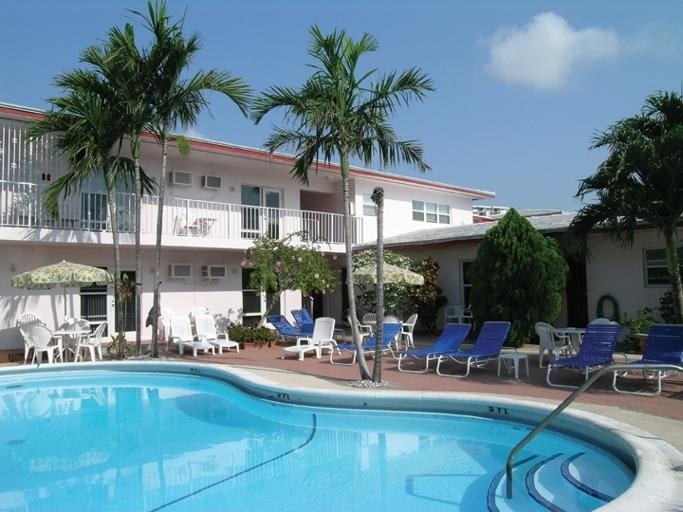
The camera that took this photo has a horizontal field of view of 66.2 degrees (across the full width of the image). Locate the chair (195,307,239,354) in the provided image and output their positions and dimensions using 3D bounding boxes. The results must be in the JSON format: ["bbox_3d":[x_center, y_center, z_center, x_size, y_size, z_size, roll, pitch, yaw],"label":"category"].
[{"bbox_3d":[-3.955,2.445,16.961,1.030,1.255,1.719,1,3,-45],"label":"chair"}]

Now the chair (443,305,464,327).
[{"bbox_3d":[4.163,2.126,19.397,0.841,1.136,0.741,-3,-10,19],"label":"chair"}]

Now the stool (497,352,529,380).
[{"bbox_3d":[4.024,2.484,12.229,0.720,0.711,0.756,-3,-5,26],"label":"stool"}]

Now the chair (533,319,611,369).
[{"bbox_3d":[5.166,2.056,12.511,1.480,0.759,1.478,0,0,-43],"label":"chair"}]

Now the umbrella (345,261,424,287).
[{"bbox_3d":[1.407,0.630,16.749,2.224,0.711,1.651,-8,6,-44],"label":"umbrella"}]

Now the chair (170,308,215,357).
[{"bbox_3d":[-4.817,2.524,16.679,0.962,1.116,2.436,-6,5,-31],"label":"chair"}]

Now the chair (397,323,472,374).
[{"bbox_3d":[2.441,2.173,13.016,1.015,1.215,2.125,-4,-5,44],"label":"chair"}]

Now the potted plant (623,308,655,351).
[{"bbox_3d":[7.763,1.924,13.618,0.877,1.344,0.997,0,-4,43],"label":"potted plant"}]

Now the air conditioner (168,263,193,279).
[{"bbox_3d":[-5.847,0.533,19.002,0.825,0.549,0.408,-5,5,-18],"label":"air conditioner"}]

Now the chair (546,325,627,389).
[{"bbox_3d":[4.999,1.994,10.877,1.833,1.536,1.042,3,-5,-45],"label":"chair"}]

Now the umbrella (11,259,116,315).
[{"bbox_3d":[-7.501,0.571,14.649,1.910,1.418,2.054,-1,-4,6],"label":"umbrella"}]
